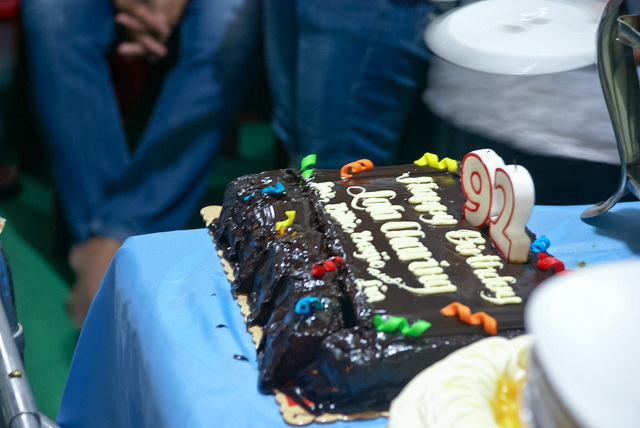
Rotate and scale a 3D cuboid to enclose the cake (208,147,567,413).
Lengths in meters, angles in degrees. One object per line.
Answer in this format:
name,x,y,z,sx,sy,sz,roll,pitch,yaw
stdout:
cake,0.246,0.357,2.930,1.171,0.352,1.153,-6,39,-11
